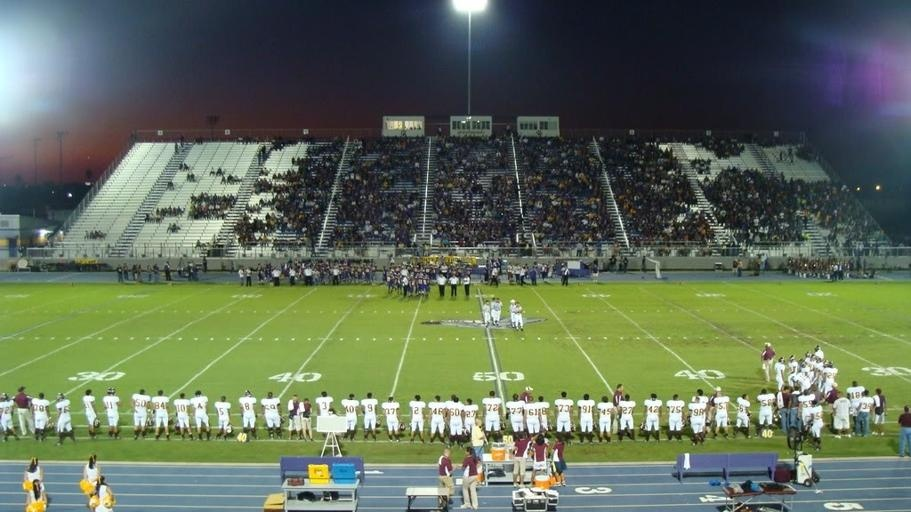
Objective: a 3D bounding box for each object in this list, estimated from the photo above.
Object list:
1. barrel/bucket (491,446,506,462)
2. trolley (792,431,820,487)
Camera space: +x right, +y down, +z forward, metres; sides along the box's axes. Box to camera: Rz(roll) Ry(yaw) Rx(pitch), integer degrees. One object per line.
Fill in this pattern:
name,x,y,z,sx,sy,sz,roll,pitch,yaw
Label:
barrel/bucket,2.534,12.063,61.569,0.837,0.501,0.762,-1,6,0
trolley,21.313,12.346,61.191,1.397,3.255,1.514,-12,-4,39
